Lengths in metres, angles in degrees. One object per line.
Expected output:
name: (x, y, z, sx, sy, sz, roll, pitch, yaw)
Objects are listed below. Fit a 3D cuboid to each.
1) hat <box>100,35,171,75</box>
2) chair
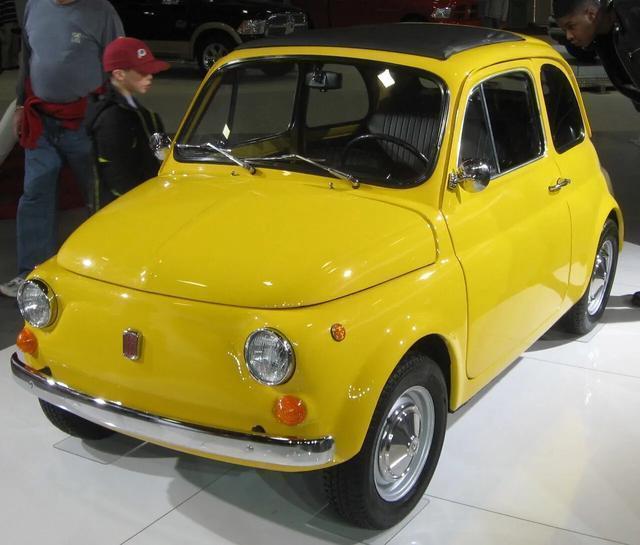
hat: (-1.110, -1.299, 3.093, 0.342, 0.194, 0.231, -7, 24, -5)
chair: (0.748, -0.778, 2.805, 0.617, 0.543, 0.858, 7, 12, 43)
